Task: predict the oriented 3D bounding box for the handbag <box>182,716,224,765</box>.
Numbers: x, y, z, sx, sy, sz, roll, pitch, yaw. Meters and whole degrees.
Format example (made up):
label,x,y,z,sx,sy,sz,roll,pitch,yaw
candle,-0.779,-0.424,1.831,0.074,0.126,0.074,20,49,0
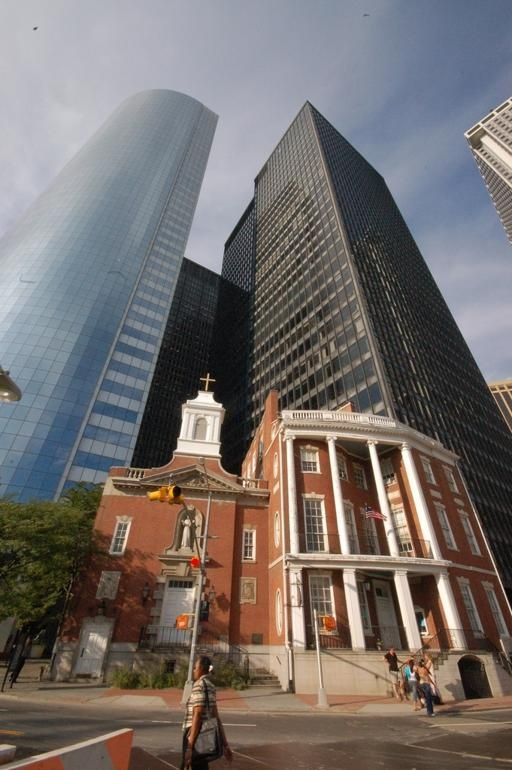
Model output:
label,x,y,z,sx,sy,sz,roll,pitch,yaw
handbag,-0.498,3.711,4.108,0.294,0.398,0.420,2,-30,-4
